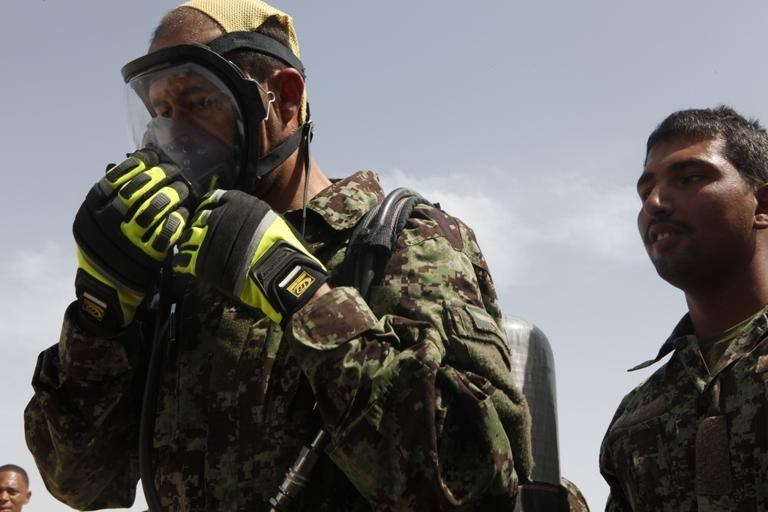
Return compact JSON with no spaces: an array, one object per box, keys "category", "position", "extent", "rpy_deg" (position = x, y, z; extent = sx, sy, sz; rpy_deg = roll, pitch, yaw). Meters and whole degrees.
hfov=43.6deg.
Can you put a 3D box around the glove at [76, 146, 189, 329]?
[{"category":"glove","position":[-1.143,-0.072,4.336],"extent":[0.324,0.520,0.715],"rpy_deg":[17,-76,-54]}]

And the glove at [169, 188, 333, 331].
[{"category":"glove","position":[-0.585,-0.007,4.176],"extent":[0.700,0.603,0.191],"rpy_deg":[5,-34,-2]}]
